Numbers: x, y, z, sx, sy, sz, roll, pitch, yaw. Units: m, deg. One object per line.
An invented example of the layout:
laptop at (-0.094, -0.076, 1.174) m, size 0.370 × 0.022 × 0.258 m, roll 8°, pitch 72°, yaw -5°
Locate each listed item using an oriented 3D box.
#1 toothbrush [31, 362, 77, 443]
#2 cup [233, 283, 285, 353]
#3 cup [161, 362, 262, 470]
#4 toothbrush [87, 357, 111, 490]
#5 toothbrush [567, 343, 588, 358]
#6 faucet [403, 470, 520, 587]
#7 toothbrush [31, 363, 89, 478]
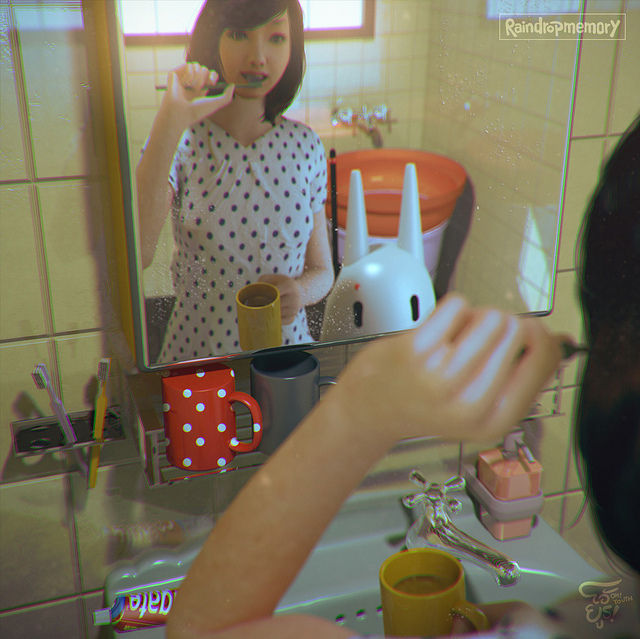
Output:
toothbrush at (-0.312, 0.101, 0.683) m, size 0.034 × 0.103 × 0.033 m, roll -3°, pitch 15°, yaw -11°
cup at (-0.062, -0.001, 0.730) m, size 0.043 × 0.069 × 0.072 m, roll 8°, pitch 22°, yaw 23°
cup at (-0.128, 0.119, 0.717) m, size 0.136 × 0.116 × 0.086 m, roll 12°, pitch 23°, yaw 20°
toothbrush at (-0.278, 0.124, 0.730) m, size 0.013 × 0.180 × 0.018 m, roll 12°, pitch 6°, yaw 26°
toothbrush at (0.322, 0.038, 0.728) m, size 0.022 × 0.024 × 0.013 m, roll 2°, pitch 10°, yaw -21°
faucet at (0.191, 0.293, 0.800) m, size 0.086 × 0.113 × 0.170 m, roll -23°, pitch 29°, yaw -37°
toothbrush at (-0.314, 0.131, 0.711) m, size 0.050 × 0.176 × 0.069 m, roll -8°, pitch 16°, yaw -27°
